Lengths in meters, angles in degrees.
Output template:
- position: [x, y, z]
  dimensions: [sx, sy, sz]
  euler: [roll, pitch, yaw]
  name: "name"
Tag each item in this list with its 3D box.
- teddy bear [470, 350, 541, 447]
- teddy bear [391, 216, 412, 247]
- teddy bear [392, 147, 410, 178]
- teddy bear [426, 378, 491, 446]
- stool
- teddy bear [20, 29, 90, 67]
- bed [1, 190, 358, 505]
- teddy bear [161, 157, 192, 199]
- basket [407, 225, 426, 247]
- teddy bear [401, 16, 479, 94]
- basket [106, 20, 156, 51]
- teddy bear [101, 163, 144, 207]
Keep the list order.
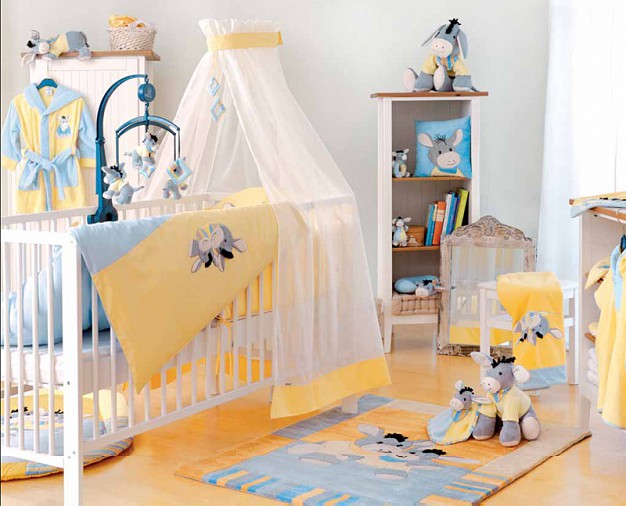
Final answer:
- position: [0.846, 0.617, 3.184]
  dimensions: [0.271, 0.402, 0.302]
  euler: [-5, 3, -33]
  name: "teddy bear"
- position: [0.542, -0.129, 4.422]
  dimensions: [0.150, 0.164, 0.090]
  euler: [-8, 12, -36]
  name: "teddy bear"
- position: [0.527, -0.542, 4.381]
  dimensions: [0.097, 0.164, 0.193]
  euler: [0, 10, 7]
  name: "teddy bear"
- position: [0.664, 0.684, 3.221]
  dimensions: [0.293, 0.240, 0.368]
  euler: [-4, 4, 34]
  name: "teddy bear"
- position: [1.121, 0.346, 3.823]
  dimensions: [0.521, 0.588, 0.511]
  euler: [0, 0, 20]
  name: "stool"
- position: [-1.457, -1.171, 4.124]
  dimensions: [0.310, 0.159, 0.201]
  euler: [-2, 4, -2]
  name: "teddy bear"
- position: [-0.697, 0.285, 3.058]
  dimensions: [0.766, 1.004, 1.463]
  euler: [3, 7, 27]
  name: "bed"
- position: [-0.603, -0.319, 3.146]
  dimensions: [0.127, 0.181, 0.134]
  euler: [7, 12, -33]
  name: "teddy bear"
- position: [0.631, -0.103, 4.450]
  dimensions: [0.112, 0.124, 0.116]
  euler: [0, -1, -22]
  name: "basket"
- position: [0.812, -1.180, 4.366]
  dimensions: [0.353, 0.477, 0.432]
  euler: [8, 17, 11]
  name: "teddy bear"
- position: [-1.033, -1.230, 4.131]
  dimensions: [0.184, 0.092, 0.221]
  euler: [4, 12, 20]
  name: "basket"
- position: [-0.779, -0.275, 2.984]
  dimensions: [0.171, 0.177, 0.139]
  euler: [0, 1, 18]
  name: "teddy bear"
